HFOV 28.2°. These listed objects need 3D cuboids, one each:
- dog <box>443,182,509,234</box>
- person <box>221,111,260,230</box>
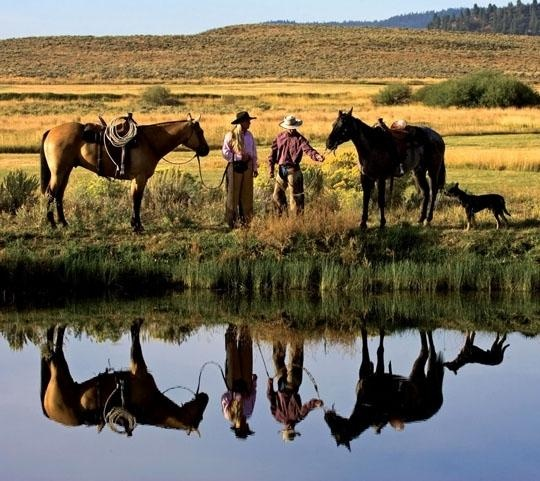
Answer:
[{"bbox_3d":[5.595,-0.922,29.050,1.787,1.195,1.401,0,16,-9],"label":"dog"},{"bbox_3d":[-0.722,-1.768,27.754,0.694,3.125,0.808,-9,23,-21],"label":"person"}]
